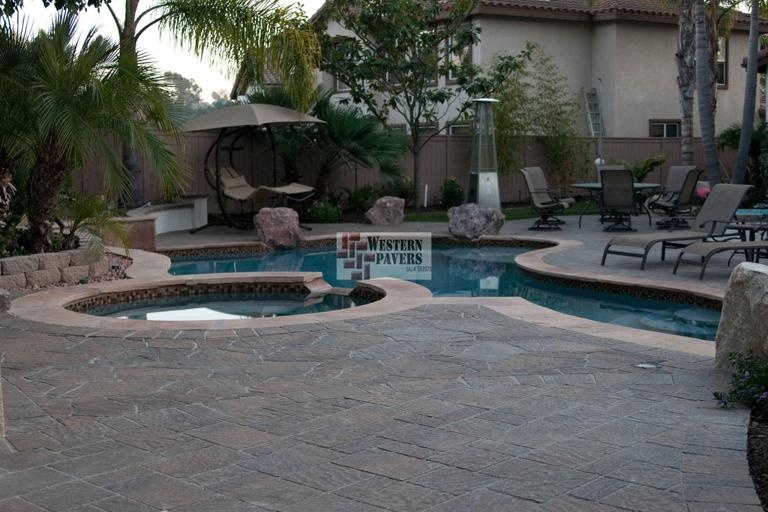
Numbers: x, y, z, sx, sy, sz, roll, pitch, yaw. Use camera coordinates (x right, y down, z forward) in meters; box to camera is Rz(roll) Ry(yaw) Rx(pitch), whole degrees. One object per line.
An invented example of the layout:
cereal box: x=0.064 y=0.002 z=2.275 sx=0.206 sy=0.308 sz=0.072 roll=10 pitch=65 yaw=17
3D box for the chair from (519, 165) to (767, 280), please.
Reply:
chair: x=5.091 y=-0.448 z=9.803 sx=3.115 sy=1.541 sz=1.568 roll=-1 pitch=2 yaw=-22

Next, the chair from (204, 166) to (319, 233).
chair: x=-3.308 y=-1.737 z=15.302 sx=2.703 sy=0.924 sz=1.423 roll=8 pitch=16 yaw=22

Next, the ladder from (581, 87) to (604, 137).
ladder: x=8.537 y=-5.833 z=23.950 sx=0.628 sy=1.894 sz=0.833 roll=-8 pitch=13 yaw=-32
